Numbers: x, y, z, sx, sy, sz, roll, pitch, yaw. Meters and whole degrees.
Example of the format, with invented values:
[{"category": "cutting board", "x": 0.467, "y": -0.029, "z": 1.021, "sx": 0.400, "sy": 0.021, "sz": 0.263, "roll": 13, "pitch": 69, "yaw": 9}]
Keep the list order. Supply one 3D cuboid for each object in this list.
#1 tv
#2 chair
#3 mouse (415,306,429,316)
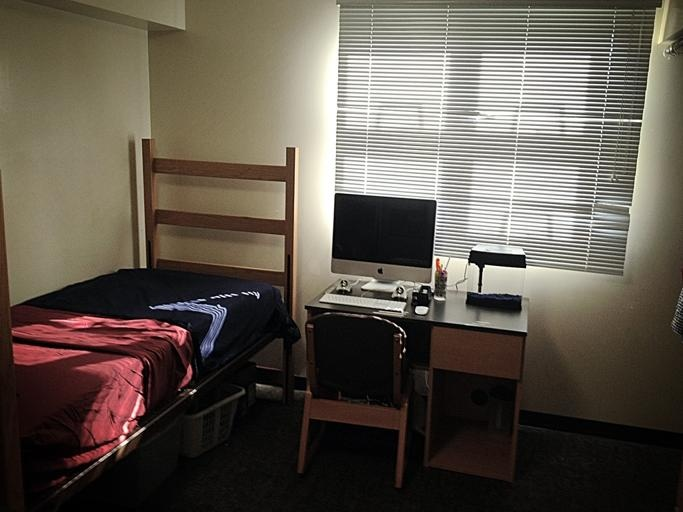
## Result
[{"category": "tv", "x": 0.307, "y": -0.121, "z": 3.848, "sx": 0.692, "sy": 0.600, "sz": 0.252, "roll": 6, "pitch": 9, "yaw": 13}, {"category": "chair", "x": 0.118, "y": 0.729, "z": 3.453, "sx": 0.647, "sy": 1.038, "sz": 0.700, "roll": 3, "pitch": 17, "yaw": 10}, {"category": "mouse", "x": 0.497, "y": 0.333, "z": 3.417, "sx": 0.089, "sy": 0.039, "sz": 0.122, "roll": 5, "pitch": 10, "yaw": 10}]
